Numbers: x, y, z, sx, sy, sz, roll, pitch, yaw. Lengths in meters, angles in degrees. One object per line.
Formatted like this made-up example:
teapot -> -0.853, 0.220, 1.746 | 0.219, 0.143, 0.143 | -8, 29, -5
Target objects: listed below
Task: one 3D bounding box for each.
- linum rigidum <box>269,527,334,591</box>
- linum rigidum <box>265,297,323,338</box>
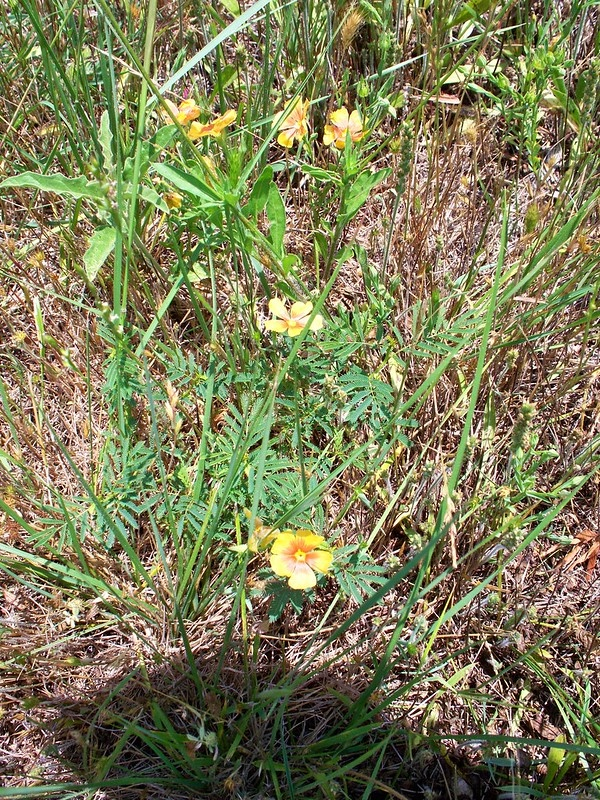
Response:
linum rigidum -> 0.000, 0.322, 1.355 | 0.123, 0.064, 0.118 | 42, 73, 14
linum rigidum -> -0.027, -0.197, 1.634 | 0.114, 0.127, 0.126 | -6, 68, -4
